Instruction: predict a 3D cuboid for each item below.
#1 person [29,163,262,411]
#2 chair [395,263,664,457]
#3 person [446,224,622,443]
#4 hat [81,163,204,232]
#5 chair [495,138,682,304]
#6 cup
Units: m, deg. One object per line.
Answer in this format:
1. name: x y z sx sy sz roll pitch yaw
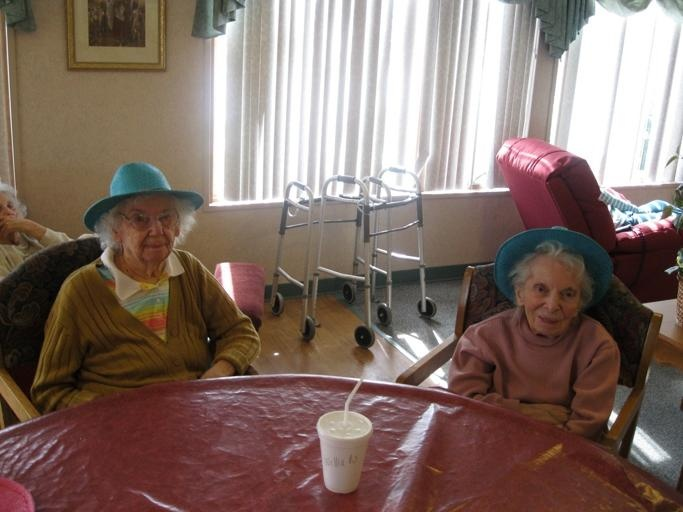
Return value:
1. person: -0.658 0.111 1.852 0.432 0.809 0.796 6 10 41
2. chair: 0.689 0.379 1.922 0.572 0.824 0.537 16 21 40
3. person: 0.678 0.308 1.865 0.492 0.762 0.503 6 8 15
4. hat: -0.708 -0.249 1.864 0.315 0.146 0.353 5 31 42
5. chair: 1.845 -0.373 4.228 1.263 1.318 0.957 -4 19 -17
6. cup: 0.002 0.414 1.234 0.153 0.184 0.159 1 10 0
